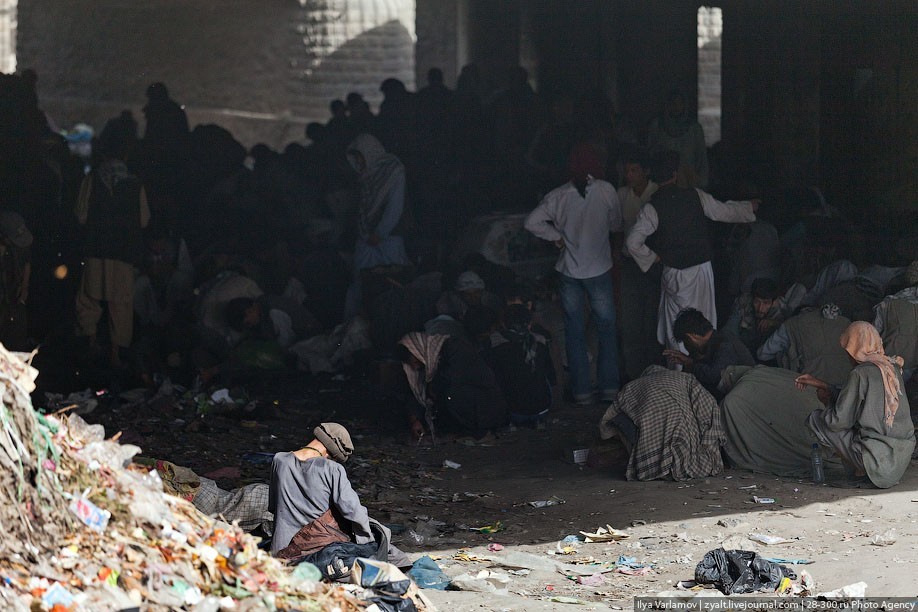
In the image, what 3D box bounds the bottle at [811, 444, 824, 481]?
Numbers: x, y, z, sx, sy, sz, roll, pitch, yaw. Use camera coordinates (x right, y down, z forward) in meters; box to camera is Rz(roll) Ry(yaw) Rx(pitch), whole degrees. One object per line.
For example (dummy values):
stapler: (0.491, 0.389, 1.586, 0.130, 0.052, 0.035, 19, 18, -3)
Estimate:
bottle: (3.415, 1.462, 11.928, 0.115, 0.341, 0.216, -2, 4, 16)
